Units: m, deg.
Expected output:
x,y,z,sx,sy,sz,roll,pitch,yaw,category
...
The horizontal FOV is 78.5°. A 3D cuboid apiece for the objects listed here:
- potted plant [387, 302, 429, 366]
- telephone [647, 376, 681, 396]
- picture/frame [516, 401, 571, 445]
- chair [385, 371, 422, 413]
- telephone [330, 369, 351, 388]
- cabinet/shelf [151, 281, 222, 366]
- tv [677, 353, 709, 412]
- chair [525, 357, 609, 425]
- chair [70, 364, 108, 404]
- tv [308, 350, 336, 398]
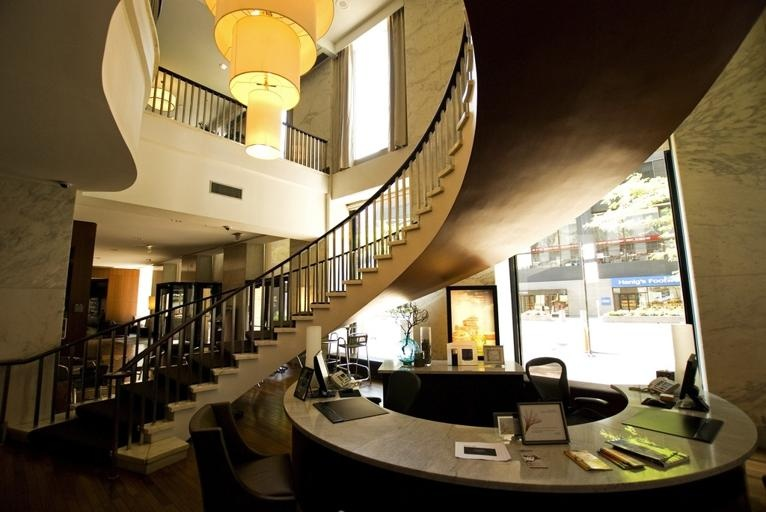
x,y,z,sx,sy,sz,roll,pitch,yaw,category
0.412,1.168,7.274,0.744,1.155,0.764,-1,0,8,potted plant
3.039,1.398,5.096,0.179,0.074,0.193,-22,15,-28,telephone
1.446,1.533,4.297,0.388,0.328,0.038,-2,-14,-4,picture/frame
0.223,1.575,5.473,0.334,0.469,0.633,1,-9,-8,chair
-0.476,1.405,5.363,0.174,0.185,0.072,1,-51,-42,telephone
-5.207,1.528,12.419,1.051,1.727,1.272,-3,1,-5,cabinet/shelf
3.176,1.296,4.864,0.244,0.560,0.258,-4,-9,20,tv
2.261,1.662,5.770,0.611,0.972,0.609,-6,-21,-25,chair
-4.978,2.041,8.008,0.464,0.627,0.667,4,-3,-29,chair
-0.651,1.288,5.460,0.385,0.580,0.576,0,2,-7,tv
